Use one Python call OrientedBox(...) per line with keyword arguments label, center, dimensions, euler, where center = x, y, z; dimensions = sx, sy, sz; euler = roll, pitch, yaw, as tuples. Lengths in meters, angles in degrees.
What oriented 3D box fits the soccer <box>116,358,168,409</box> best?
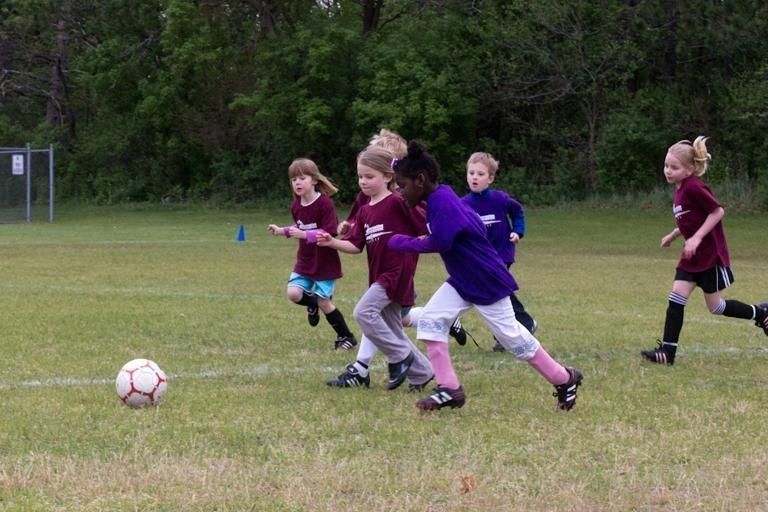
OrientedBox(label="soccer", center=(-4.390, 2.267, 20.881), dimensions=(0.922, 0.827, 0.858), euler=(1, 28, -19))
